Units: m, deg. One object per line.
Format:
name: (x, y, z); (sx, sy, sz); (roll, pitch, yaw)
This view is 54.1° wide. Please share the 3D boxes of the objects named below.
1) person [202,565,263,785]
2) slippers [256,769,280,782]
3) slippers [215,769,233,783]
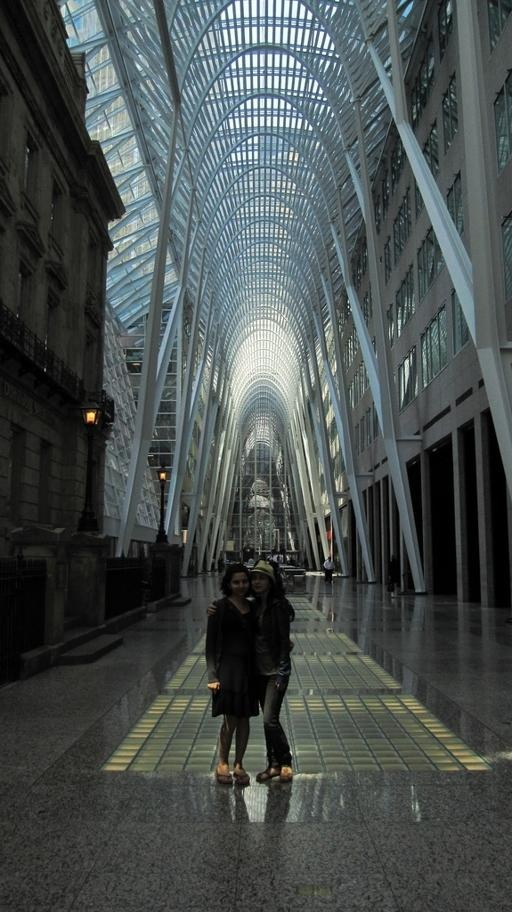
person: (-0.151, 1.490, 3.550); (0.361, 1.441, 0.467); (-3, -10, 25)
slippers: (0.089, 2.161, 3.436); (0.156, 0.105, 0.075); (9, -11, -10)
slippers: (-0.203, 2.133, 3.373); (0.111, 0.072, 0.123); (3, -13, -2)
